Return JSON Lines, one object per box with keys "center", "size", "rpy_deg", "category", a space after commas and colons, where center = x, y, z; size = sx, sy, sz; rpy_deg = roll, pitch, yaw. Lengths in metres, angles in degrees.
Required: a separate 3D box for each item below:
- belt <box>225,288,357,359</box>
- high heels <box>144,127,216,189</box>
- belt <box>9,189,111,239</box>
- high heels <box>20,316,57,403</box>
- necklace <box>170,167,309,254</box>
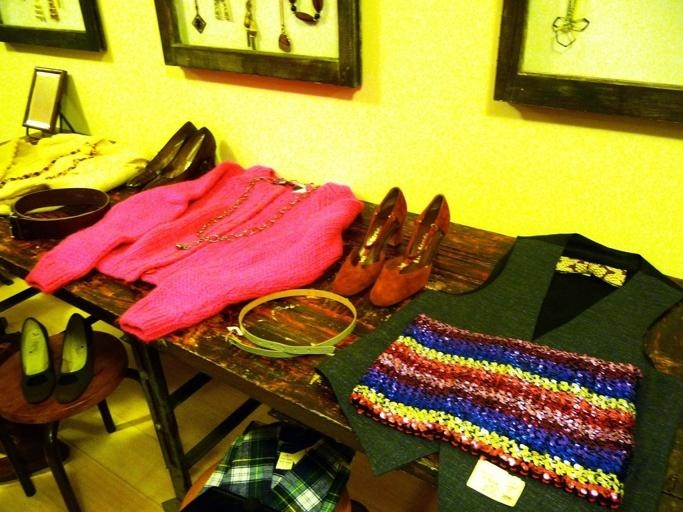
{"center": [-0.142, 0.154, 1.134], "size": [0.228, 0.024, 0.186], "rpy_deg": [13, 29, 31], "category": "belt"}
{"center": [-0.612, -0.346, 1.967], "size": [0.159, 0.186, 0.501], "rpy_deg": [39, -16, -30], "category": "high heels"}
{"center": [-0.886, -0.164, 1.672], "size": [0.231, 0.047, 0.216], "rpy_deg": [-12, -4, 40], "category": "belt"}
{"center": [-0.830, 0.292, 1.433], "size": [0.095, 0.046, 0.255], "rpy_deg": [-6, 26, -30], "category": "high heels"}
{"center": [-0.264, -0.121, 1.536], "size": [0.364, 0.053, 0.214], "rpy_deg": [-32, 36, -28], "category": "necklace"}
